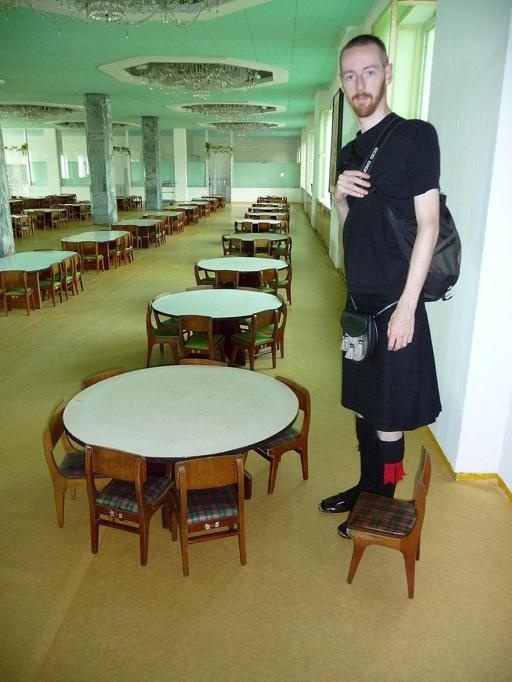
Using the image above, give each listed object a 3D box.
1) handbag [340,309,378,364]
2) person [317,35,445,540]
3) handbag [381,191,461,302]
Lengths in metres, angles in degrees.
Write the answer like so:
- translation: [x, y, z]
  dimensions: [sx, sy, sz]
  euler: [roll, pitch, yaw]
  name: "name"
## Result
- translation: [0.388, -0.022, 1.837]
  dimensions: [0.070, 0.209, 0.171]
  euler: [-7, 16, -36]
  name: "handbag"
- translation: [0.471, -0.117, 1.875]
  dimensions: [0.431, 1.811, 0.496]
  euler: [6, 14, 25]
  name: "person"
- translation: [0.579, -0.307, 1.665]
  dimensions: [0.275, 0.358, 0.141]
  euler: [-4, 13, -19]
  name: "handbag"
